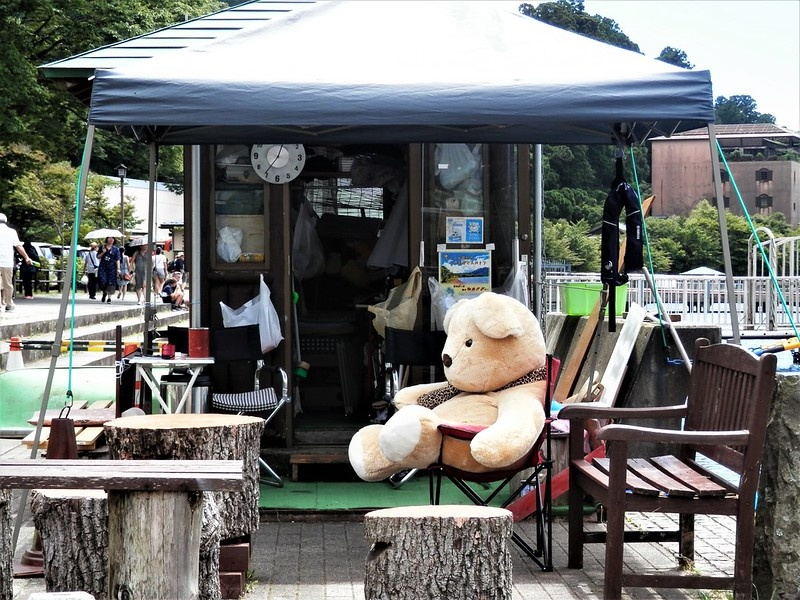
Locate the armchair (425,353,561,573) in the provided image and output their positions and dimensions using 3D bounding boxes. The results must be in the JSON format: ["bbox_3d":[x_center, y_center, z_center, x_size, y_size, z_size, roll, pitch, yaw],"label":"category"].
[{"bbox_3d":[0.654,1.090,7.731,0.927,1.444,1.287,-2,4,1],"label":"armchair"}]

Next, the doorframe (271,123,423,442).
[{"bbox_3d":[-0.376,0.521,11.421,1.113,2.454,1.230,21,22,38],"label":"doorframe"}]

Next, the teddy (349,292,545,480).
[{"bbox_3d":[0.346,0.636,7.585,1.165,1.370,1.532,3,0,-23],"label":"teddy"}]

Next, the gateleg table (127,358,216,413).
[{"bbox_3d":[-1.836,0.607,8.651,0.517,0.567,0.554,0,-3,-3],"label":"gateleg table"}]

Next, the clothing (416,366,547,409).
[{"bbox_3d":[0.538,0.709,7.808,0.669,0.153,0.411,-18,2,10],"label":"clothing"}]
